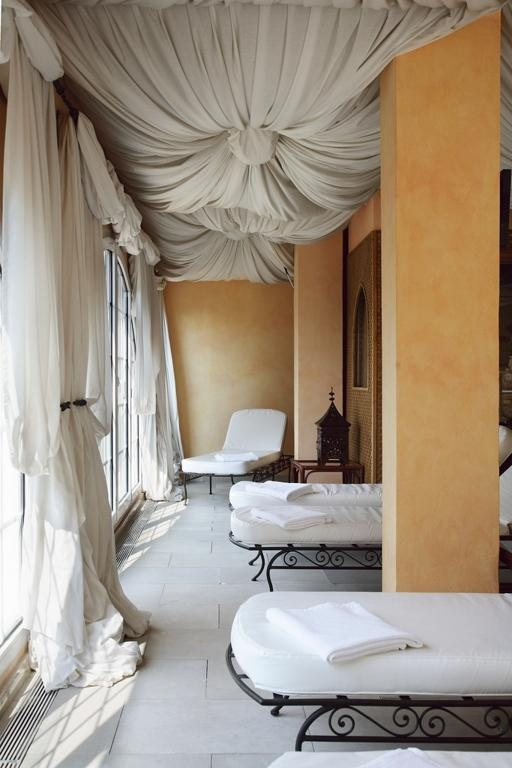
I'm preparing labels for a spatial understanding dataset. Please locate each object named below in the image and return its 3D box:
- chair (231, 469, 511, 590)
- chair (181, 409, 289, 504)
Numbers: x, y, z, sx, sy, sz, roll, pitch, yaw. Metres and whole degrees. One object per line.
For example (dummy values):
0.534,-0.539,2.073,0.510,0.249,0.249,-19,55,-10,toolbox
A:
0.458,0.720,3.037,1.169,0.426,0.752,-2,6,-3,chair
-0.164,0.722,5.772,0.718,1.065,1.334,-2,-3,24,chair
